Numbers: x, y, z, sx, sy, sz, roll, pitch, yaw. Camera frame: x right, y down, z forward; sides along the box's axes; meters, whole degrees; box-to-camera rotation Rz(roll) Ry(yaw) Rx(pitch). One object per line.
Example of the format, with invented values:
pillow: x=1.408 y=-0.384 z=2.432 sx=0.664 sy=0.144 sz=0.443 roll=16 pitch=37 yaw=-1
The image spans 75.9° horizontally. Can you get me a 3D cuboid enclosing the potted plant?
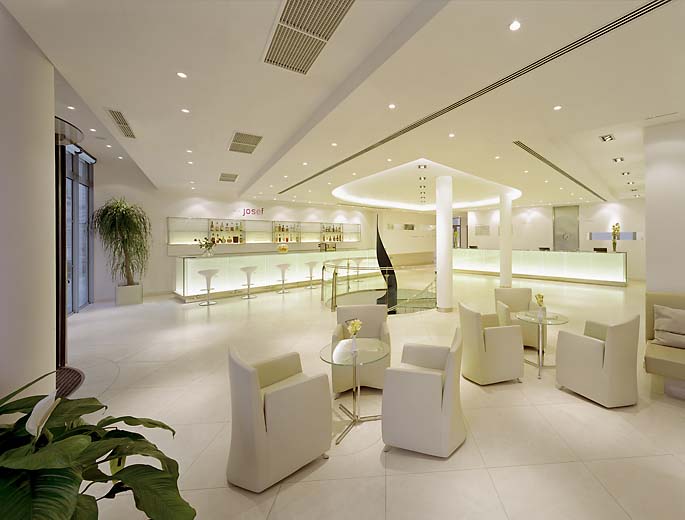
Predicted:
potted plant: x=-5.084 y=-0.246 z=10.186 sx=1.101 sy=2.411 sz=1.170 roll=-3 pitch=3 yaw=-31

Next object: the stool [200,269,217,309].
stool: x=-3.092 y=0.625 z=10.184 sx=0.381 sy=0.843 sz=1.168 roll=-2 pitch=2 yaw=-16

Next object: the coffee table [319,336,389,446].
coffee table: x=0.131 y=1.451 z=5.086 sx=0.941 sy=0.921 sz=0.759 roll=-1 pitch=9 yaw=-3

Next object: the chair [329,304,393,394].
chair: x=0.280 y=1.119 z=5.853 sx=0.796 sy=1.226 sz=1.024 roll=0 pitch=-3 yaw=7

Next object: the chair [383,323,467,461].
chair: x=0.959 y=1.403 z=5.255 sx=1.041 sy=1.654 sz=1.191 roll=0 pitch=-4 yaw=19

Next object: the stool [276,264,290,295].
stool: x=-1.602 y=0.482 z=12.013 sx=0.312 sy=0.785 sz=0.982 roll=-2 pitch=2 yaw=-7

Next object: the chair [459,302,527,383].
chair: x=2.054 y=1.085 z=6.335 sx=0.928 sy=1.363 sz=0.935 roll=-2 pitch=1 yaw=-9

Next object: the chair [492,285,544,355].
chair: x=2.765 y=0.895 z=6.965 sx=0.701 sy=1.117 sz=0.879 roll=0 pitch=-2 yaw=7
